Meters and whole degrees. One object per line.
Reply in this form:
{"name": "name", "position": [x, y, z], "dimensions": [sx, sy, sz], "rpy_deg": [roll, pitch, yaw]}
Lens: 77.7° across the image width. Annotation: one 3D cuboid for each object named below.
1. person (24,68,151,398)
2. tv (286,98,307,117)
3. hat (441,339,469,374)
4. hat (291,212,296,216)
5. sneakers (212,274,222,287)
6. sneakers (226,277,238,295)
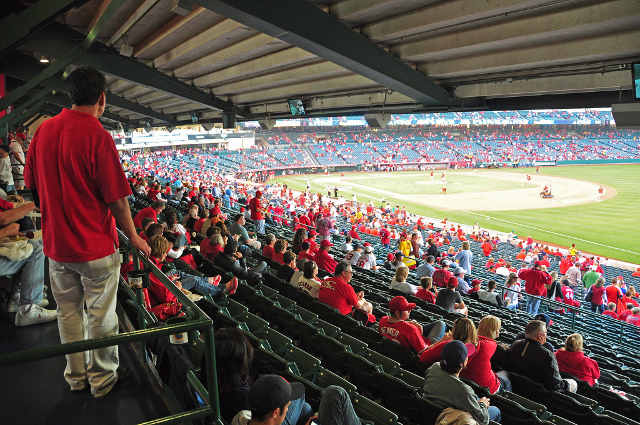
{"name": "person", "position": [-2.065, -0.043, 3.549], "dimensions": [0.885, 2.408, 0.615], "rpy_deg": [-7, 17, -18]}
{"name": "tv", "position": [-0.647, -3.027, 11.386], "dimensions": [0.681, 0.559, 0.088], "rpy_deg": [19, 44, 31]}
{"name": "hat", "position": [1.409, 1.533, 4.198], "dimensions": [0.278, 0.327, 0.155], "rpy_deg": [-9, 17, -25]}
{"name": "hat", "position": [-1.212, 0.049, 18.361], "dimensions": [0.280, 0.226, 0.179], "rpy_deg": [-4, 49, -9]}
{"name": "sneakers", "position": [-1.580, 1.036, 6.168], "dimensions": [0.106, 0.081, 0.250], "rpy_deg": [-3, 9, 1]}
{"name": "sneakers", "position": [-1.306, 1.108, 6.001], "dimensions": [0.143, 0.325, 0.178], "rpy_deg": [8, 33, -23]}
